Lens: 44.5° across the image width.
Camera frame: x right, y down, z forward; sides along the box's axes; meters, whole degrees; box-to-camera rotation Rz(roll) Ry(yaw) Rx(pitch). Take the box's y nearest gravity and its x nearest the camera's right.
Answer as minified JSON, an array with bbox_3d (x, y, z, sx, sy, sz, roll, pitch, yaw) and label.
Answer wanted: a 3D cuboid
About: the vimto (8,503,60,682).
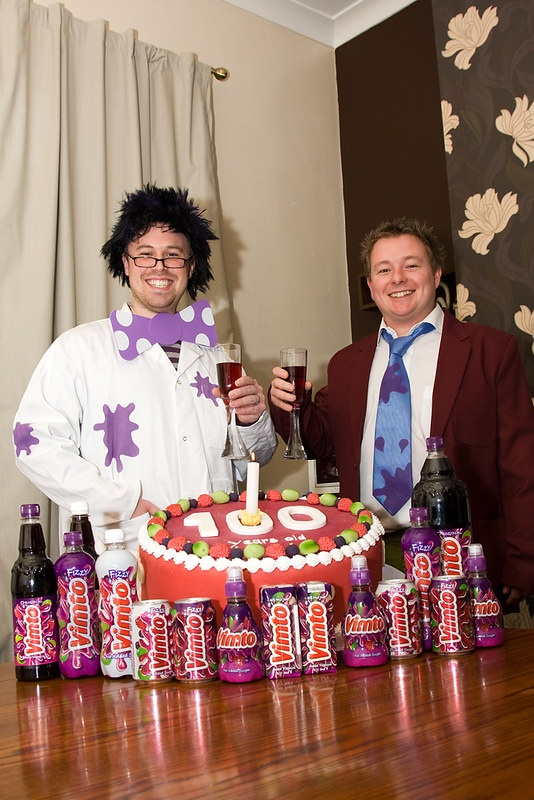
[{"bbox_3d":[-0.351,0.289,1.030,0.084,0.269,0.076,4,5,16],"label":"vimto"}]

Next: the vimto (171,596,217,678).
[{"bbox_3d":[-0.101,0.336,0.909,0.062,0.107,0.061,0,-15,-10],"label":"vimto"}]
